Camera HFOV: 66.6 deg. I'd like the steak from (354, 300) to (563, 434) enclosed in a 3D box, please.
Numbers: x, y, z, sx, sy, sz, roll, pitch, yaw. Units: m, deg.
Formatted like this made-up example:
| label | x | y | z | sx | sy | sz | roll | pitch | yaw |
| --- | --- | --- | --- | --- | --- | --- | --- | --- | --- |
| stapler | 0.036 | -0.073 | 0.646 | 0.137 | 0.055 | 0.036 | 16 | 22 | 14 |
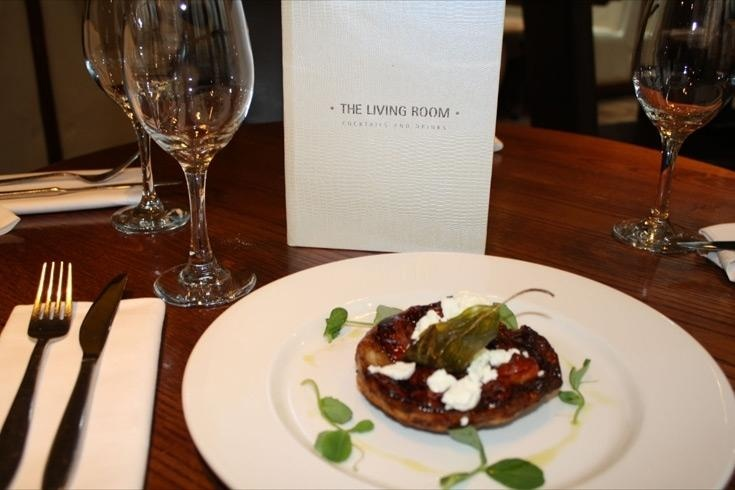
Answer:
| label | x | y | z | sx | sy | sz | roll | pitch | yaw |
| --- | --- | --- | --- | --- | --- | --- | --- | --- | --- |
| steak | 0.131 | 0.176 | 0.839 | 0.276 | 0.093 | 0.213 | -18 | 35 | -24 |
